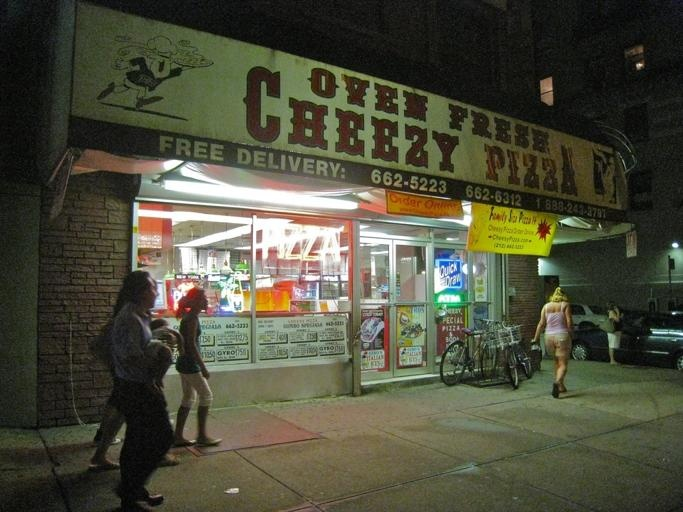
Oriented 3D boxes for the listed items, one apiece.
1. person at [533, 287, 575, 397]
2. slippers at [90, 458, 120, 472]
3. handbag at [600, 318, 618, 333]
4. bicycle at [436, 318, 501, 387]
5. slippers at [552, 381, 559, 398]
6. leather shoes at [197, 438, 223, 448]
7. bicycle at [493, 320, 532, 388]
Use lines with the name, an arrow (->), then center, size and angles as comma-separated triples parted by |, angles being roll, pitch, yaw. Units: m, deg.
person -> 4.238, 1.655, 12.688 | 0.592, 2.001, 1.230 | 3, 6, 4
slippers -> -3.117, 2.728, 8.474 | 0.417, 0.161, 0.144 | 2, -7, -18
handbag -> 7.154, 1.822, 17.130 | 0.175, 0.420, 0.430 | 4, -10, -20
bicycle -> 2.696, 2.055, 13.547 | 1.748, 1.044, 0.791 | -3, 1, -35
slippers -> 4.073, 2.534, 12.258 | 0.113, 0.271, 0.114 | -2, -8, 34
leather shoes -> -1.915, 2.657, 9.263 | 0.261, 0.110, 0.141 | 0, -10, -13
bicycle -> 3.692, 2.019, 13.856 | 0.775, 1.308, 1.960 | 4, 6, 19
